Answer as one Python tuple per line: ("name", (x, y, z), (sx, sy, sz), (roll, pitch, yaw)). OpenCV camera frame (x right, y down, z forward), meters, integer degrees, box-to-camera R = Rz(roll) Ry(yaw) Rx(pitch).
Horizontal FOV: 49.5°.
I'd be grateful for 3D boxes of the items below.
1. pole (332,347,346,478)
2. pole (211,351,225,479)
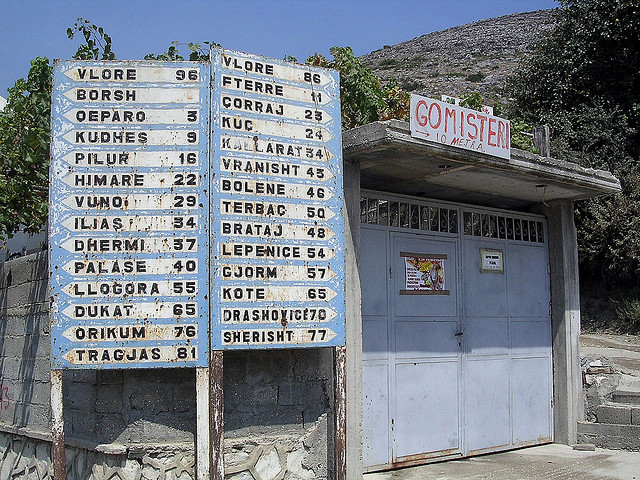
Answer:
("pole", (0.208, 1.956, 7.874), (0.214, 1.447, 0.478), (-3, -11, 1))
("pole", (-1.107, 1.851, 7.377), (0.134, 1.318, 0.310), (-1, -11, -9))
